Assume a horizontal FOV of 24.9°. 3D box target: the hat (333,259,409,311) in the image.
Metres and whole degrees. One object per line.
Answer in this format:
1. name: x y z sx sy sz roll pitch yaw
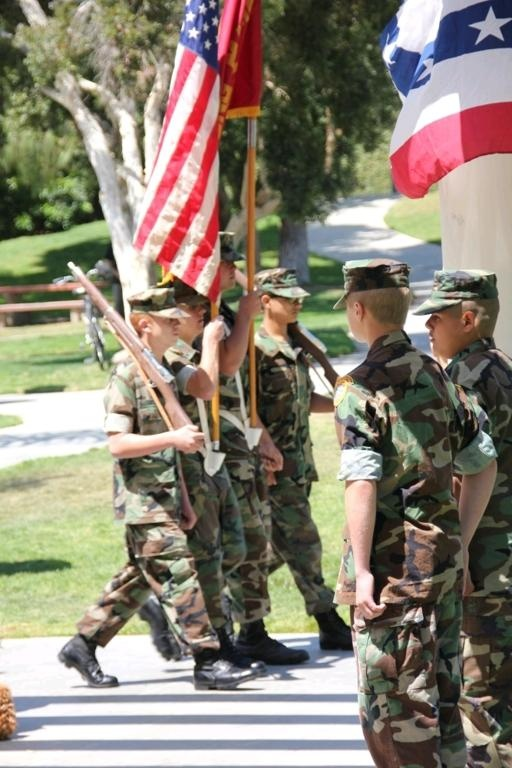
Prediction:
1. hat: 0.391 -0.342 3.906 0.281 0.133 0.198 -7 -1 19

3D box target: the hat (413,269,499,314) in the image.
1. hat: 0.764 -0.334 4.396 0.265 0.115 0.186 -6 -1 8

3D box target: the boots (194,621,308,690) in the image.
1. boots: -0.016 1.290 5.401 0.480 0.283 0.149 -9 -4 7

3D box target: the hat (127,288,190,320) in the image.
1. hat: -0.428 -0.354 5.015 0.215 0.087 0.143 7 12 19

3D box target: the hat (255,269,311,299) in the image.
1. hat: 0.126 -0.553 6.401 0.180 0.095 0.273 -4 8 -39
